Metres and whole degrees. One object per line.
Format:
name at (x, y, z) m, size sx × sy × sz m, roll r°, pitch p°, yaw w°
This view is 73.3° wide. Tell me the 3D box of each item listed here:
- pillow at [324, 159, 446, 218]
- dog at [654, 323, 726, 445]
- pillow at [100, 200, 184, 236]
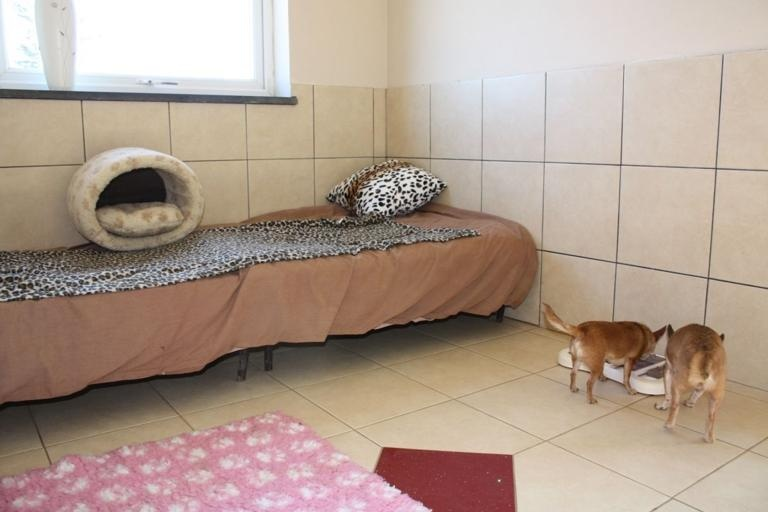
pillow at (-0.040, -0.438, 3.482) m, size 0.548 × 0.181 × 0.507 m, roll -31°, pitch 21°, yaw -35°
dog at (1.377, 0.526, 2.326) m, size 0.220 × 0.373 × 0.663 m, roll 12°, pitch 6°, yaw 24°
pillow at (-1.296, -0.227, 2.780) m, size 0.346 × 0.114 × 0.333 m, roll -15°, pitch 8°, yaw 8°
